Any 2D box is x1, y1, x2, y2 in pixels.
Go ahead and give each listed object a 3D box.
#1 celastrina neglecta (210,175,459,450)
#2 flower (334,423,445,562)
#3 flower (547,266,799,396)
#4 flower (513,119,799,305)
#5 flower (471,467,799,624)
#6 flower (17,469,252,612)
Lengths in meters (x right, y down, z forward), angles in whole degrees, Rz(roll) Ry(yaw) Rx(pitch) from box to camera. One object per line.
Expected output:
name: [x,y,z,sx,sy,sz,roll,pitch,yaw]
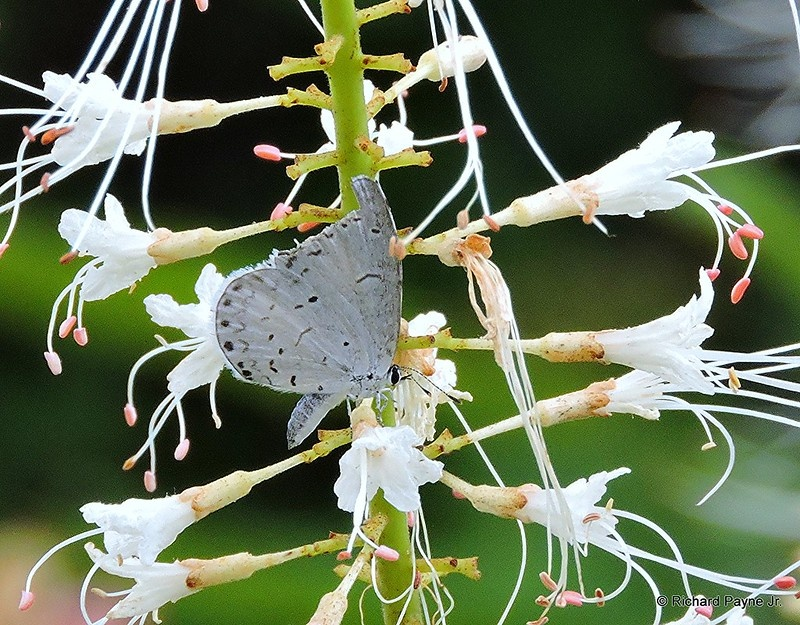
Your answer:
celastrina neglecta: [-0.158,0.058,2.192,0.385,0.494,0.397,-14,65,11]
flower: [-0.044,0.305,2.028,0.229,0.153,0.181,-30,82,-7]
flower: [0.544,0.058,2.172,0.399,0.237,0.221,-1,72,14]
flower: [0.751,-0.274,2.928,0.853,0.285,0.479,17,68,1]
flower: [0.428,0.430,2.194,0.456,0.365,0.177,12,81,-8]
flower: [-0.503,0.408,2.260,0.563,0.222,0.138,-21,92,-14]
